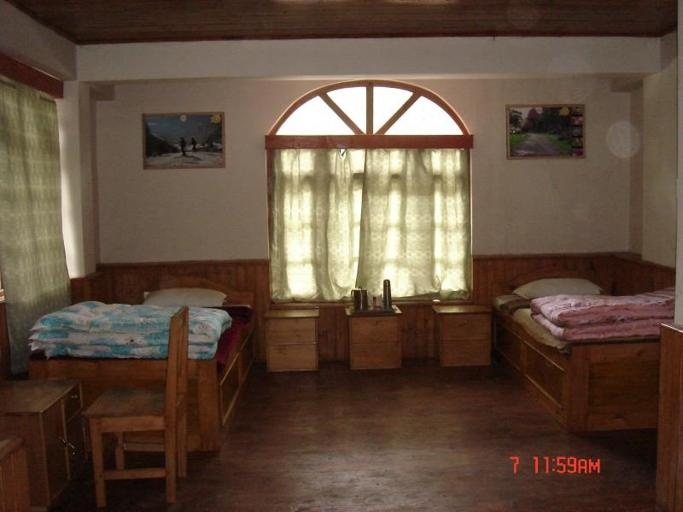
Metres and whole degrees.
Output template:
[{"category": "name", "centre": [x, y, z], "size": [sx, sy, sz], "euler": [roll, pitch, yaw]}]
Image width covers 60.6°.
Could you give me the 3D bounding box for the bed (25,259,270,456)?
[{"category": "bed", "centre": [-1.577, 0.875, 5.633], "size": [1.616, 1.070, 1.685], "euler": [0, -1, 0]}]

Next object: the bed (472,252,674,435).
[{"category": "bed", "centre": [2.316, 0.760, 5.923], "size": [1.246, 0.934, 1.917], "euler": [-1, 8, 0]}]

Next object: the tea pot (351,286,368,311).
[{"category": "tea pot", "centre": [0.190, 0.466, 6.507], "size": [0.199, 0.259, 0.268], "euler": [0, 2, -3]}]

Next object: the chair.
[{"category": "chair", "centre": [-1.449, 1.078, 4.210], "size": [0.733, 1.348, 0.485], "euler": [-4, 13, -15]}]
